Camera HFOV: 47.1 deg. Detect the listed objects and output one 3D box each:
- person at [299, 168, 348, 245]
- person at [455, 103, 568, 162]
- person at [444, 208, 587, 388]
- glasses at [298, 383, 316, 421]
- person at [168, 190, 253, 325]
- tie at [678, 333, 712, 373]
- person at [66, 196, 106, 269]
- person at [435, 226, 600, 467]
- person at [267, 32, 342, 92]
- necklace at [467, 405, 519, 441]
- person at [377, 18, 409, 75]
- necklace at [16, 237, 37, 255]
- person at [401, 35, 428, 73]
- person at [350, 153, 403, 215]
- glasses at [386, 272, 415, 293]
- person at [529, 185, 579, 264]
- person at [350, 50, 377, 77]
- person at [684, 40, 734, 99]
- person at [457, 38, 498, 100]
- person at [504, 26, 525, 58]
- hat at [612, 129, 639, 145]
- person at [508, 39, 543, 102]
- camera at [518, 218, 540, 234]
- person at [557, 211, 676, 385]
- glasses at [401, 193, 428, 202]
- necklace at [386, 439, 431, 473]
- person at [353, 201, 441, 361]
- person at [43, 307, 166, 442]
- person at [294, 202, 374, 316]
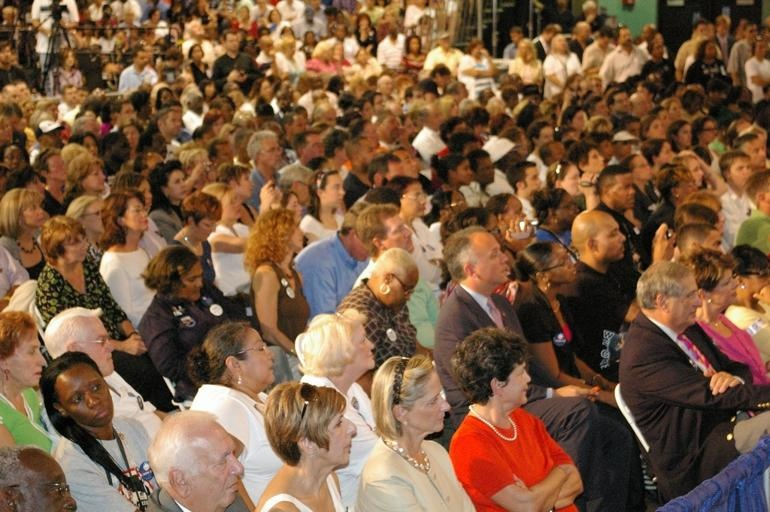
[{"bbox_3d":[-0.696,-0.537,9.645,0.365,0.744,0.737,3,22,15],"label":"person"},{"bbox_3d":[1.993,-1.872,13.309,1.014,0.751,1.391,-19,14,22],"label":"person"},{"bbox_3d":[1.113,0.515,7.700,1.280,1.557,0.971,-1,10,15],"label":"person"},{"bbox_3d":[-0.492,0.933,5.751,0.070,0.187,0.132,4,-1,-3],"label":"glasses"},{"bbox_3d":[-1.794,0.024,9.103,0.727,1.255,0.662,-5,-6,-10],"label":"person"},{"bbox_3d":[2.635,0.844,7.540,0.140,0.358,0.261,-45,4,3],"label":"tie"},{"bbox_3d":[-3.090,-0.282,9.194,0.413,0.741,0.421,-12,0,-5],"label":"person"},{"bbox_3d":[1.247,1.088,7.646,1.397,2.734,1.062,-7,6,22],"label":"person"},{"bbox_3d":[-1.596,-3.751,17.133,1.510,0.653,1.507,-1,39,-5],"label":"person"},{"bbox_3d":[0.785,1.248,6.432,0.284,0.065,0.252,41,26,9],"label":"necklace"},{"bbox_3d":[0.190,-4.780,19.861,0.889,1.386,0.762,-7,4,-4],"label":"person"},{"bbox_3d":[-3.735,-0.109,9.183,0.108,0.155,0.044,-7,19,-41],"label":"necklace"},{"bbox_3d":[0.629,-4.504,19.520,0.495,0.818,0.780,-3,10,6],"label":"person"},{"bbox_3d":[-0.089,-0.818,9.977,0.396,0.798,0.570,21,22,-15],"label":"person"},{"bbox_3d":[0.134,0.228,7.576,0.054,0.183,0.176,-32,-13,7],"label":"glasses"},{"bbox_3d":[1.891,-0.410,9.764,0.532,0.845,0.500,1,17,33],"label":"person"},{"bbox_3d":[-0.383,-4.106,18.632,0.613,0.586,1.068,-5,10,-1],"label":"person"},{"bbox_3d":[6.691,-3.500,18.301,0.833,1.997,0.594,-5,14,8],"label":"person"},{"bbox_3d":[1.846,-3.736,17.473,0.720,1.107,0.651,-7,11,-15],"label":"person"},{"bbox_3d":[2.909,-4.887,20.269,0.320,1.126,0.428,-3,46,7],"label":"person"},{"bbox_3d":[3.754,-1.893,13.909,0.477,0.153,0.362,-3,-2,19],"label":"hat"},{"bbox_3d":[2.914,-3.453,18.341,0.729,1.957,0.592,-4,9,1],"label":"person"},{"bbox_3d":[1.499,-0.323,9.516,0.191,0.195,0.200,-1,0,41],"label":"camera"},{"bbox_3d":[2.287,0.478,8.804,1.009,1.933,0.792,-4,24,13],"label":"person"},{"bbox_3d":[0.305,-0.644,9.568,0.167,0.054,0.171,0,-1,23],"label":"glasses"},{"bbox_3d":[0.167,1.383,6.092,0.254,0.063,0.229,42,13,8],"label":"necklace"},{"bbox_3d":[0.239,0.165,8.468,0.992,1.324,0.931,-18,15,-40],"label":"person"},{"bbox_3d":[-2.211,0.964,6.971,0.542,0.978,0.617,-22,16,-7],"label":"person"},{"bbox_3d":[-0.492,0.056,8.510,0.430,0.698,0.860,28,35,19],"label":"person"}]
